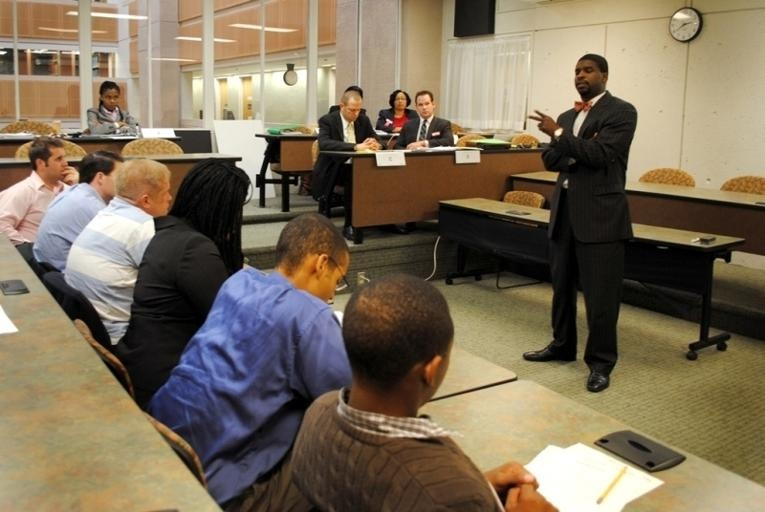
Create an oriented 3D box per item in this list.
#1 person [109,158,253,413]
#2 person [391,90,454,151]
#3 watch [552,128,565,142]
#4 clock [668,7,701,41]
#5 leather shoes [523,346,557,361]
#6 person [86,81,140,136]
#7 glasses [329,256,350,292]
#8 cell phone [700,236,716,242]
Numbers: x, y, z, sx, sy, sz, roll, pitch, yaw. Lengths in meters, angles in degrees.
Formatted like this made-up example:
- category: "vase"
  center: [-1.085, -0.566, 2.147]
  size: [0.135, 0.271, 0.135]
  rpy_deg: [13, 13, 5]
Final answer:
- category: "person"
  center: [-0.876, 0.417, 2.396]
  size: [0.564, 1.603, 0.501]
  rpy_deg: [0, 17, -25]
- category: "person"
  center: [0.470, -1.491, 6.405]
  size: [0.727, 1.116, 0.614]
  rpy_deg: [4, 2, 10]
- category: "watch"
  center: [1.132, -0.787, 3.331]
  size: [0.069, 0.098, 0.038]
  rpy_deg: [2, -31, 46]
- category: "clock"
  center: [3.732, -2.860, 6.390]
  size: [0.088, 0.422, 0.390]
  rpy_deg: [-13, 19, -38]
- category: "leather shoes"
  center: [1.147, 0.730, 3.757]
  size: [0.268, 0.115, 0.102]
  rpy_deg: [1, 1, 1]
- category: "person"
  center: [-3.497, -1.861, 6.925]
  size: [0.785, 0.774, 0.948]
  rpy_deg: [-7, 12, -38]
- category: "glasses"
  center: [-0.140, 0.067, 1.835]
  size: [0.099, 0.109, 0.030]
  rpy_deg: [0, -13, 37]
- category: "cell phone"
  center: [2.321, -0.119, 3.696]
  size: [0.061, 0.015, 0.065]
  rpy_deg: [-12, 15, -38]
